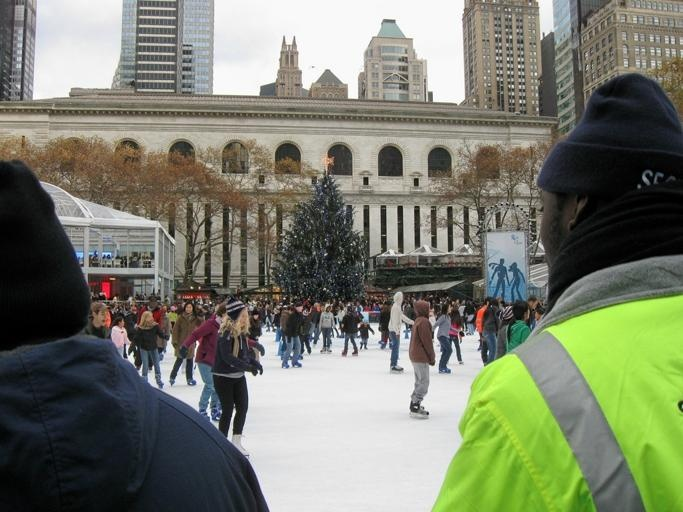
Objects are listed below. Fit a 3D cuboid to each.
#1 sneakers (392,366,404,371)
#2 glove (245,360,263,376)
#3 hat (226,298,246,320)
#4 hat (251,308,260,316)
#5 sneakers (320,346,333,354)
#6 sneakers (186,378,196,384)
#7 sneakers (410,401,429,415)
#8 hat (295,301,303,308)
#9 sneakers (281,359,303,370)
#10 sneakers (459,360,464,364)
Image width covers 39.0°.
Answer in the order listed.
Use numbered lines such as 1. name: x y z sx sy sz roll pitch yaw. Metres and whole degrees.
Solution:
1. sneakers: 0.992 1.895 16.321 0.241 0.110 0.083 1 0 -8
2. glove: -0.783 1.010 8.827 0.155 0.070 0.220 17 -24 27
3. hat: -0.987 0.477 8.886 0.148 0.172 0.194 -19 11 16
4. hat: -1.418 0.947 16.106 0.130 0.179 0.162 4 -1 -10
5. sneakers: -0.322 2.209 22.538 0.097 0.198 0.301 5 -18 -23
6. sneakers: -2.184 1.834 14.065 0.055 0.069 0.157 1 -7 -31
7. sneakers: 0.855 1.621 10.257 0.201 0.109 0.213 7 -3 -30
8. hat: -0.872 1.027 20.121 0.103 0.101 0.080 -5 8 -37
9. sneakers: -0.947 2.005 17.793 0.464 0.216 0.152 -18 -18 36
10. sneakers: 2.255 1.975 17.995 0.045 0.056 0.125 3 -13 -13
